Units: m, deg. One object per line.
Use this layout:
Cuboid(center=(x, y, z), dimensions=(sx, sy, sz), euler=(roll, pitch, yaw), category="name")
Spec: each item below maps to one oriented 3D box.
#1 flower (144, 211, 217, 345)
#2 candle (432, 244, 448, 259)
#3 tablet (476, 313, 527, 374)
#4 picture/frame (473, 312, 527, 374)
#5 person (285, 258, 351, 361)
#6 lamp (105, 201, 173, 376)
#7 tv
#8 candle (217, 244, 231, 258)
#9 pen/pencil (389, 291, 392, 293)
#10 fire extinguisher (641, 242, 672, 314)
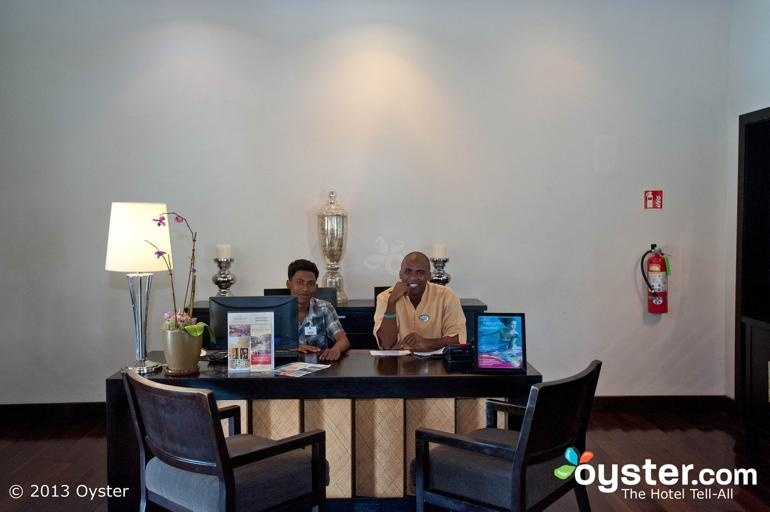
Cuboid(center=(-1.443, 0.178, 4.312), dimensions=(0.484, 1.026, 0.406), euler=(6, 14, 6), category="flower")
Cuboid(center=(0.551, -0.043, 6.145), dimensions=(0.140, 0.138, 0.141), euler=(1, 0, -22), category="candle")
Cuboid(center=(0.833, 0.622, 4.297), dimensions=(0.384, 0.446, 0.031), euler=(-2, -14, 19), category="tablet")
Cuboid(center=(0.826, 0.613, 4.285), dimensions=(0.319, 0.449, 0.275), euler=(3, 6, 0), category="picture/frame")
Cuboid(center=(-0.635, 0.464, 4.995), dimensions=(0.745, 0.804, 0.604), euler=(0, -2, 30), category="person")
Cuboid(center=(-1.908, 0.253, 4.646), dimensions=(0.564, 1.321, 0.576), euler=(1, 3, 2), category="lamp")
Cuboid(center=(-0.992, 0.509, 4.488), dimensions=(0.646, 0.414, 0.160), euler=(0, 3, -7), category="tv")
Cuboid(center=(-1.646, -0.055, 6.076), dimensions=(0.129, 0.127, 0.132), euler=(1, 1, -14), category="candle")
Cuboid(center=(0.048, 0.309, 5.168), dimensions=(0.019, 0.015, 0.020), euler=(2, -1, -24), category="pen/pencil")
Cuboid(center=(2.879, 0.242, 6.342), dimensions=(0.327, 0.721, 0.210), euler=(-2, 1, -17), category="fire extinguisher")
